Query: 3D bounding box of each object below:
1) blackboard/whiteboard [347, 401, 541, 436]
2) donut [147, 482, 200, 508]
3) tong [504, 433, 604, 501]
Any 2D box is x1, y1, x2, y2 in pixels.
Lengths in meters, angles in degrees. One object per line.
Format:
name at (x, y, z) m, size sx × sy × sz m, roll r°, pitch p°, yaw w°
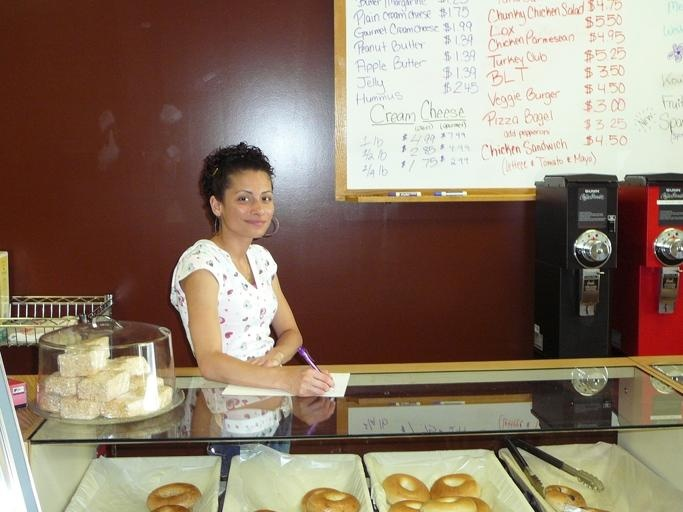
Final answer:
blackboard/whiteboard at (0.247, 0.399, 1.390) m, size 0.464 × 0.012 × 0.129 m, roll 0°, pitch 15°, yaw -1°
donut at (-0.398, 0.575, 1.347) m, size 0.126 × 0.033 × 0.069 m, roll -3°, pitch 15°, yaw -12°
tong at (0.517, 0.524, 1.419) m, size 0.127 × 0.095 × 0.326 m, roll -7°, pitch -3°, yaw 2°
